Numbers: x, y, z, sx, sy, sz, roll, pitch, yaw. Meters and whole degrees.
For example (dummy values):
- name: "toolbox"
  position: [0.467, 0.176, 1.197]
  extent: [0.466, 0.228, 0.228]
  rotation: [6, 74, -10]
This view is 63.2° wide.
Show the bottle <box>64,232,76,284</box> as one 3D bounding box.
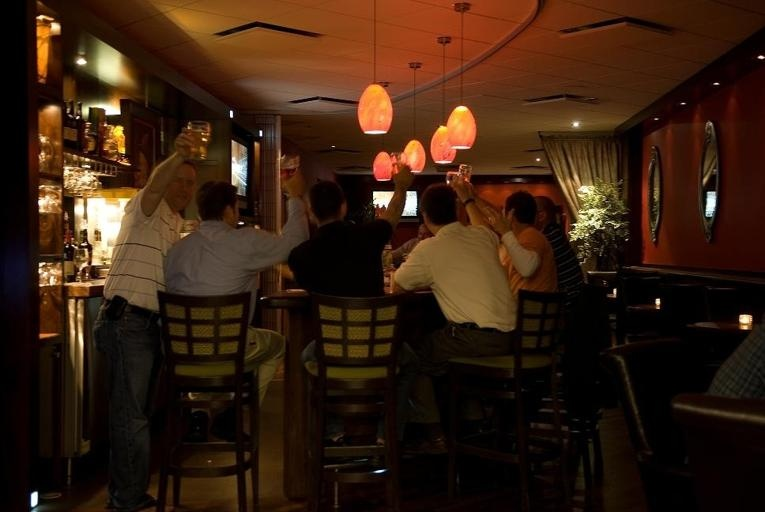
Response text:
- name: "bottle"
  position: [-2.505, 0.004, 4.983]
  extent: [0.087, 0.412, 0.484]
  rotation: [0, -3, -27]

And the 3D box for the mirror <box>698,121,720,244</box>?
- name: "mirror"
  position: [4.213, -0.960, 8.025]
  extent: [0.146, 1.543, 0.648]
  rotation: [-2, -3, 16]

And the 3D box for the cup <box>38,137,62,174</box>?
- name: "cup"
  position: [-2.272, -0.674, 4.226]
  extent: [0.088, 0.261, 0.182]
  rotation: [-2, -3, 6]

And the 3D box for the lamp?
- name: "lamp"
  position: [0.400, -1.952, 7.248]
  extent: [1.720, 2.320, 0.487]
  rotation: [3, -6, -32]

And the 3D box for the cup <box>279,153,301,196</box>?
- name: "cup"
  position: [-0.616, -0.553, 4.205]
  extent: [0.142, 0.307, 0.308]
  rotation: [-1, -3, -7]

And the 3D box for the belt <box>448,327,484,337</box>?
- name: "belt"
  position: [0.543, 0.503, 4.116]
  extent: [0.221, 0.073, 0.044]
  rotation: [-2, -3, 7]
